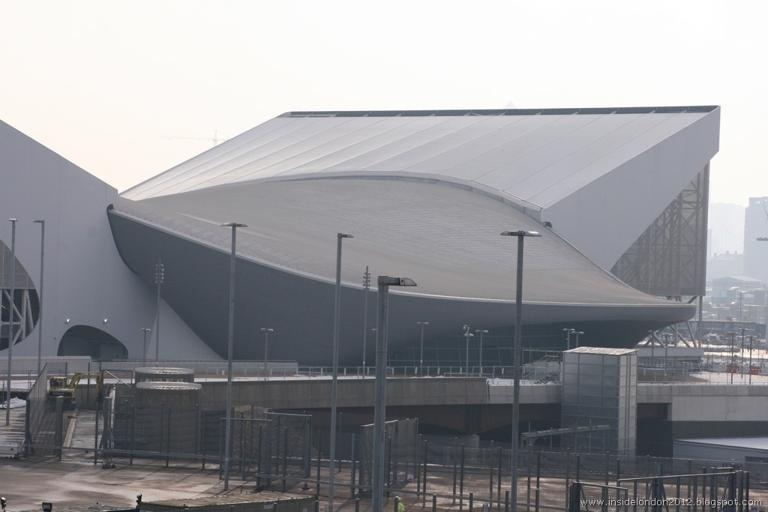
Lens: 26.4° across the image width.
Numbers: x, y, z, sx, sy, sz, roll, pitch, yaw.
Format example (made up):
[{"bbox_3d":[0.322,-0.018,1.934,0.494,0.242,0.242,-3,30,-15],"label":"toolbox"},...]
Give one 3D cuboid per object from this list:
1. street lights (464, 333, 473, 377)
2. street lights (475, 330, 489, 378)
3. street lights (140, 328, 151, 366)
[{"bbox_3d":[6.137,7.141,119.903,0.603,2.931,0.945,-1,-11,1],"label":"street lights"},{"bbox_3d":[7.099,6.916,119.756,0.822,2.861,0.960,-2,-11,7],"label":"street lights"},{"bbox_3d":[-18.011,6.557,122.805,0.529,2.307,0.646,-10,-14,40],"label":"street lights"}]
